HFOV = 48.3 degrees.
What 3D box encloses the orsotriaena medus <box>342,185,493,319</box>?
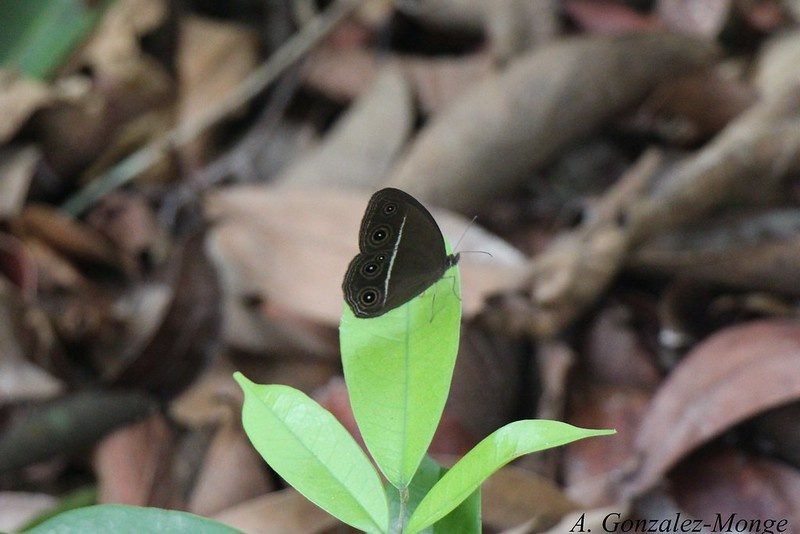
[{"bbox_3d":[0.019,-0.058,2.093,0.282,0.398,0.136,3,45,-10],"label":"orsotriaena medus"}]
